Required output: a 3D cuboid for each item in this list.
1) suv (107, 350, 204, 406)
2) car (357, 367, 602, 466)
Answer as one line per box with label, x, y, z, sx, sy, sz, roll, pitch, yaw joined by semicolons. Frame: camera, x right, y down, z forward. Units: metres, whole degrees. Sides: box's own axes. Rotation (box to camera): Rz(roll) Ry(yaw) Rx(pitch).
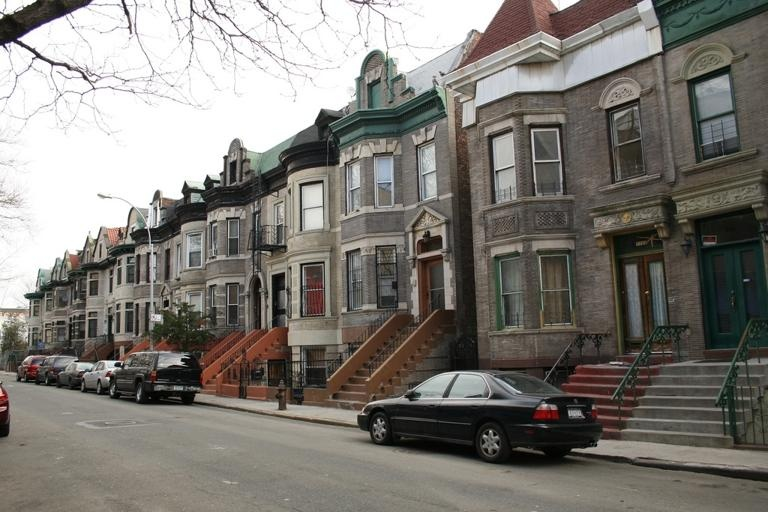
suv;-9.684;4.938;28.776;4.927;2.066;1.955;-8;-13;31
car;2.299;3.660;17.319;5.083;1.520;2.161;-5;-12;41
